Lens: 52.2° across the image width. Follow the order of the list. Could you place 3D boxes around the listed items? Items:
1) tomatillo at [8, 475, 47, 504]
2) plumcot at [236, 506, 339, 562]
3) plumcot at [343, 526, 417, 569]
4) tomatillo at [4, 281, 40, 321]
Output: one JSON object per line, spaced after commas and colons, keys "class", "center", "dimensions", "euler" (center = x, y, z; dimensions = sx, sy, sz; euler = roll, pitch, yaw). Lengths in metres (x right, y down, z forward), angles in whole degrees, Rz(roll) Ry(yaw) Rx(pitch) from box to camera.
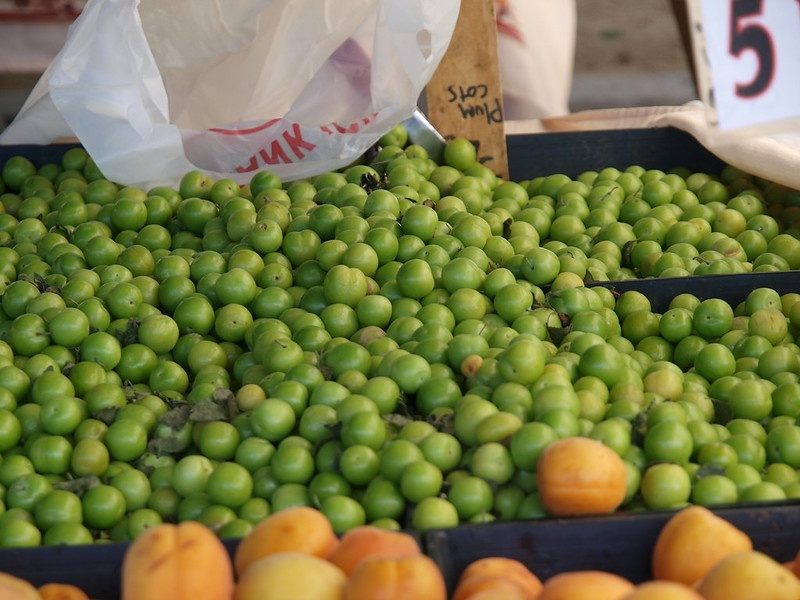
{"class": "tomatillo", "center": [-1.123, 0.573, 2.465], "dimensions": [0.086, 0.102, 0.090], "euler": [17, 83, 2]}
{"class": "plumcot", "center": [-0.264, 0.534, 1.853], "dimensions": [0.162, 0.123, 0.096], "euler": [-25, 74, -7]}
{"class": "plumcot", "center": [-0.045, 0.548, 1.848], "dimensions": [0.113, 0.087, 0.070], "euler": [-9, 86, -7]}
{"class": "tomatillo", "center": [-1.439, 0.015, 3.172], "dimensions": [0.122, 0.129, 0.158], "euler": [-3, 67, -4]}
